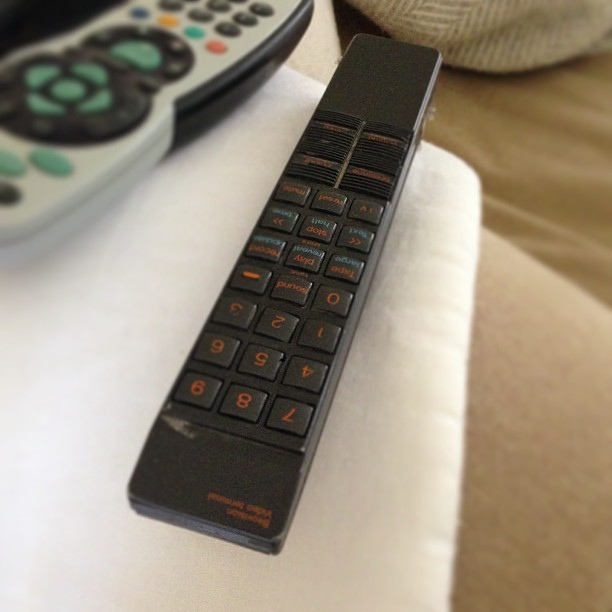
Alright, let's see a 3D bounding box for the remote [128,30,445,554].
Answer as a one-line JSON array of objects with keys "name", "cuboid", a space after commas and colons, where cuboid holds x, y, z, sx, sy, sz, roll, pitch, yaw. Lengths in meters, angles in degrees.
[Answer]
[{"name": "remote", "cuboid": [0.011, -0.028, 0.261, 0.070, 0.032, 0.239, 15, 49, 12]}]
